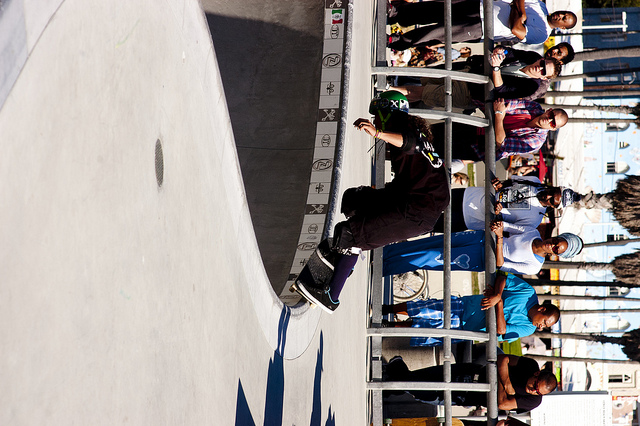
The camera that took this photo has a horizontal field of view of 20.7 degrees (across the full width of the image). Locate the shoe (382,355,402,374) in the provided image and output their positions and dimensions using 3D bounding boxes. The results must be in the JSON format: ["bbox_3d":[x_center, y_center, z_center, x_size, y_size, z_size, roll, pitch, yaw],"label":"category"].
[{"bbox_3d":[1.358,2.971,34.318,0.361,0.387,0.305,20,-6,-4],"label":"shoe"}]

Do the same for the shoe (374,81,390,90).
[{"bbox_3d":[1.208,-2.553,34.571,0.296,0.158,0.457,3,24,2],"label":"shoe"}]

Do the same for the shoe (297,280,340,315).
[{"bbox_3d":[-0.043,1.500,31.920,0.949,0.394,0.318,38,-11,-12],"label":"shoe"}]
